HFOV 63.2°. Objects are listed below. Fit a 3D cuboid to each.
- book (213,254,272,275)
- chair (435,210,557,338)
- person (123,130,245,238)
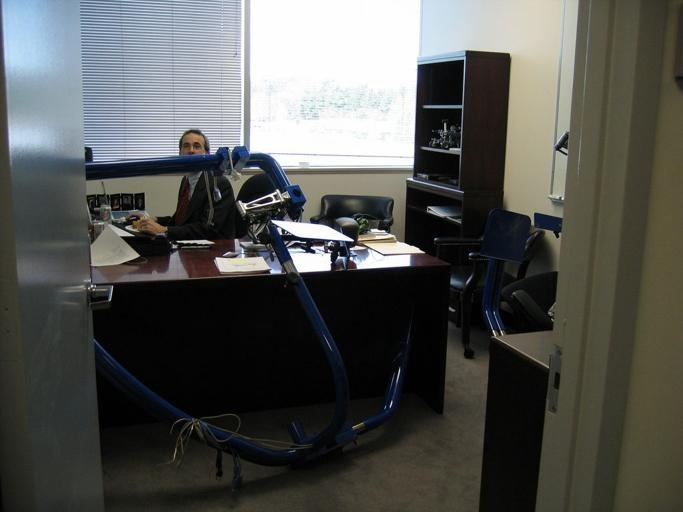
[{"bbox_3d":[-0.508,0.048,2.805,0.254,0.019,0.297,-4,16,-21],"label":"book"},{"bbox_3d":[1.000,0.139,3.921,0.716,1.057,0.981,5,14,14],"label":"chair"},{"bbox_3d":[-1.046,-0.489,3.824,0.663,0.787,0.606,1,1,-38],"label":"person"}]
